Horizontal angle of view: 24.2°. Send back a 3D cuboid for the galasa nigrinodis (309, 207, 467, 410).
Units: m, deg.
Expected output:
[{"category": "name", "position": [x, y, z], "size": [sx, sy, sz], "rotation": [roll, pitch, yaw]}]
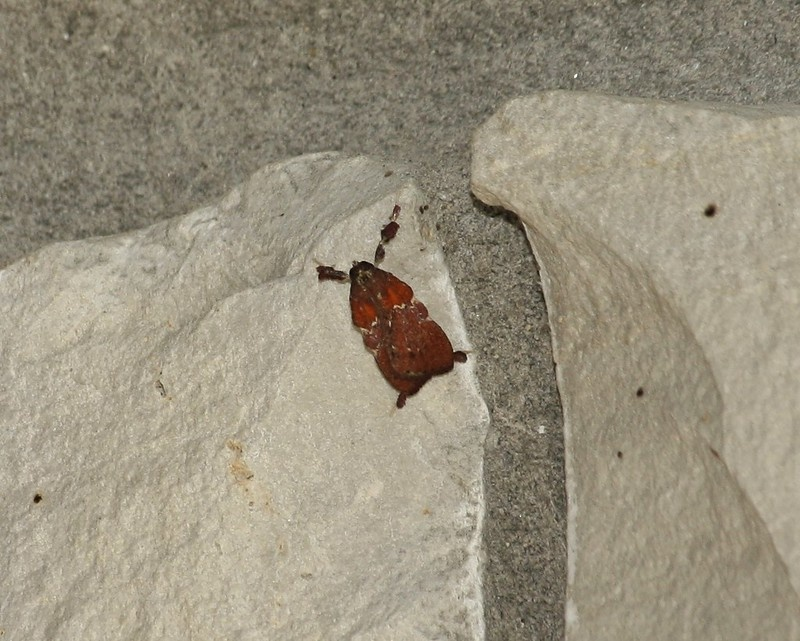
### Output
[{"category": "galasa nigrinodis", "position": [-0.040, -0.025, 6.901], "size": [0.468, 0.181, 0.684], "rotation": [-31, 87, -9]}]
